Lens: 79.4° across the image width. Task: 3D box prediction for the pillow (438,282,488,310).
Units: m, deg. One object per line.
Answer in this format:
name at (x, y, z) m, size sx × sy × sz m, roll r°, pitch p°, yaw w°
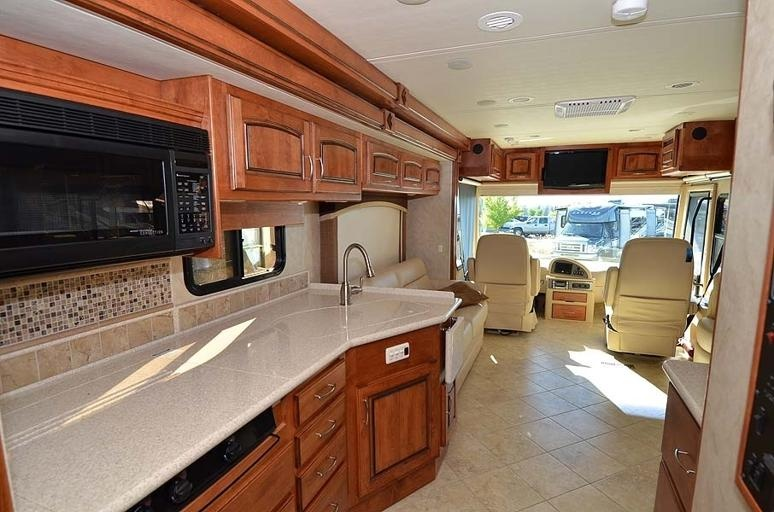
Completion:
pillow at (0.825, 0.389, 4.935) m, size 0.341 × 0.084 × 0.332 m, roll -26°, pitch 28°, yaw -32°
